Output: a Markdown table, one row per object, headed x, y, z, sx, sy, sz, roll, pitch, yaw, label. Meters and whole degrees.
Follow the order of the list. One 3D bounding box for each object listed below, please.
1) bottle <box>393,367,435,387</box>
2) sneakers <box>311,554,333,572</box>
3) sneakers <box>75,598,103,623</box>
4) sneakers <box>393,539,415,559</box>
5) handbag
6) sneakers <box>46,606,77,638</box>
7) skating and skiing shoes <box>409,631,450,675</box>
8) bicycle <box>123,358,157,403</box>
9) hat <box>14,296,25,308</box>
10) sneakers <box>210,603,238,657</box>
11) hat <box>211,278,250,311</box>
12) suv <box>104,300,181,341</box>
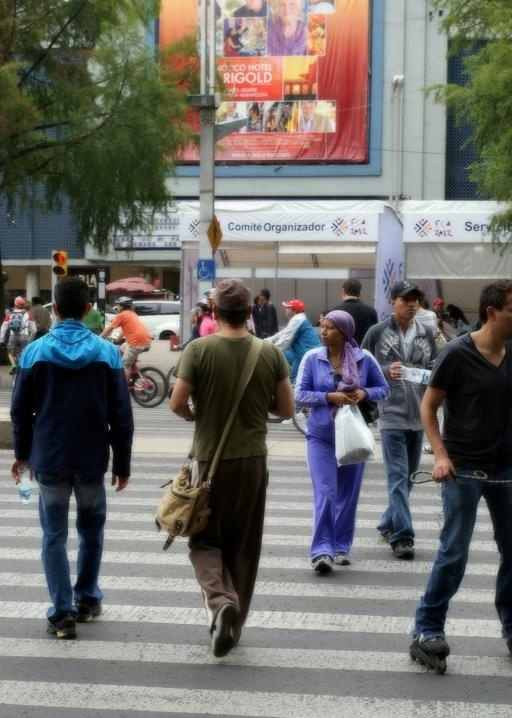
| x | y | z | sx | sy | sz | roll | pitch | yaw | label |
| --- | --- | --- | --- | --- | --- | --- | --- | --- | --- |
| 0.962 | 0.114 | 6.306 | 0.144 | 0.071 | 0.254 | 3 | 5 | 1 | bottle |
| 0.397 | 1.229 | 6.123 | 0.074 | 0.072 | 0.151 | 2 | -12 | -4 | sneakers |
| -0.830 | 1.263 | 5.143 | 0.062 | 0.082 | 0.173 | 3 | 6 | 12 | sneakers |
| 0.948 | 1.222 | 6.591 | 0.070 | 0.078 | 0.178 | 1 | 4 | 5 | sneakers |
| -0.337 | 0.658 | 4.621 | 0.150 | 0.371 | 0.289 | 18 | 3 | -26 | handbag |
| -0.916 | 1.262 | 4.909 | 0.082 | 0.086 | 0.195 | 0 | 6 | -16 | sneakers |
| 0.766 | 1.300 | 4.570 | 0.164 | 0.153 | 0.227 | 1 | 3 | 8 | skating and skiing shoes |
| -1.702 | 0.379 | 15.694 | 0.484 | 0.742 | 0.371 | 2 | 1 | -10 | bicycle |
| -4.704 | -1.092 | 20.526 | 0.259 | 0.291 | 0.330 | -1 | 14 | -16 | hat |
| -0.140 | 1.152 | 4.364 | 0.099 | 0.255 | 0.113 | 7 | 14 | -2 | sneakers |
| -0.107 | -0.277 | 4.593 | 0.130 | 0.141 | 0.160 | 0 | 20 | -5 | hat |
| -3.965 | -1.432 | 35.288 | 2.888 | 1.439 | 1.650 | 3 | 2 | 4 | suv |
